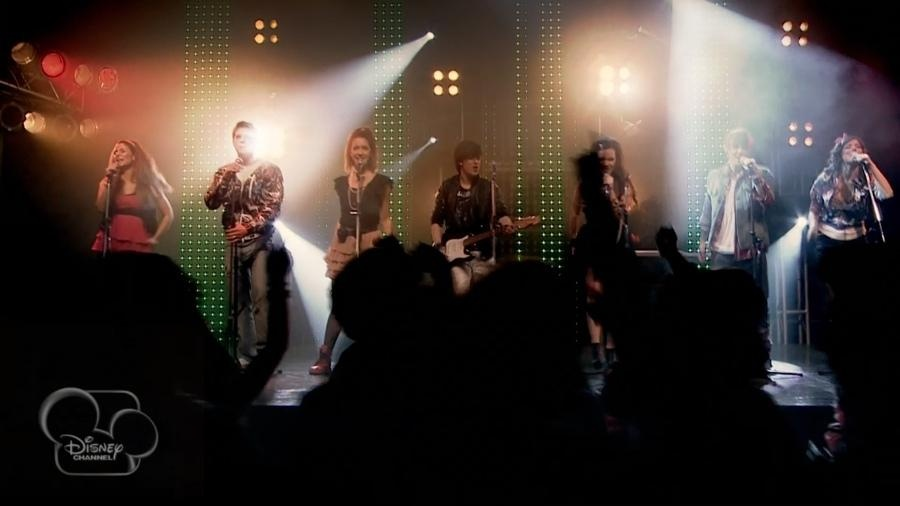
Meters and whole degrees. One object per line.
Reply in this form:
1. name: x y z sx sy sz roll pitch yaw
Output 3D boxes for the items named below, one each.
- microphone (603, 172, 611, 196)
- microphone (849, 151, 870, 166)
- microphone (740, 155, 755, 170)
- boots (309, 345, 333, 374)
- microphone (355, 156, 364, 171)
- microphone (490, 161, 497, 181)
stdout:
1. microphone: 1.608 -0.694 7.065 0.044 0.174 0.129 -5 10 -3
2. microphone: 4.246 -1.000 7.197 0.225 0.153 0.054 7 12 29
3. microphone: 3.065 -0.931 7.143 0.127 0.134 0.054 12 18 -17
4. boots: -1.264 1.135 7.149 0.331 0.321 0.160 1 -11 -5
5. microphone: -0.903 -0.887 6.992 0.070 0.101 0.030 1 -1 9
6. microphone: 0.447 -0.828 6.986 0.056 0.200 0.029 1 10 7
